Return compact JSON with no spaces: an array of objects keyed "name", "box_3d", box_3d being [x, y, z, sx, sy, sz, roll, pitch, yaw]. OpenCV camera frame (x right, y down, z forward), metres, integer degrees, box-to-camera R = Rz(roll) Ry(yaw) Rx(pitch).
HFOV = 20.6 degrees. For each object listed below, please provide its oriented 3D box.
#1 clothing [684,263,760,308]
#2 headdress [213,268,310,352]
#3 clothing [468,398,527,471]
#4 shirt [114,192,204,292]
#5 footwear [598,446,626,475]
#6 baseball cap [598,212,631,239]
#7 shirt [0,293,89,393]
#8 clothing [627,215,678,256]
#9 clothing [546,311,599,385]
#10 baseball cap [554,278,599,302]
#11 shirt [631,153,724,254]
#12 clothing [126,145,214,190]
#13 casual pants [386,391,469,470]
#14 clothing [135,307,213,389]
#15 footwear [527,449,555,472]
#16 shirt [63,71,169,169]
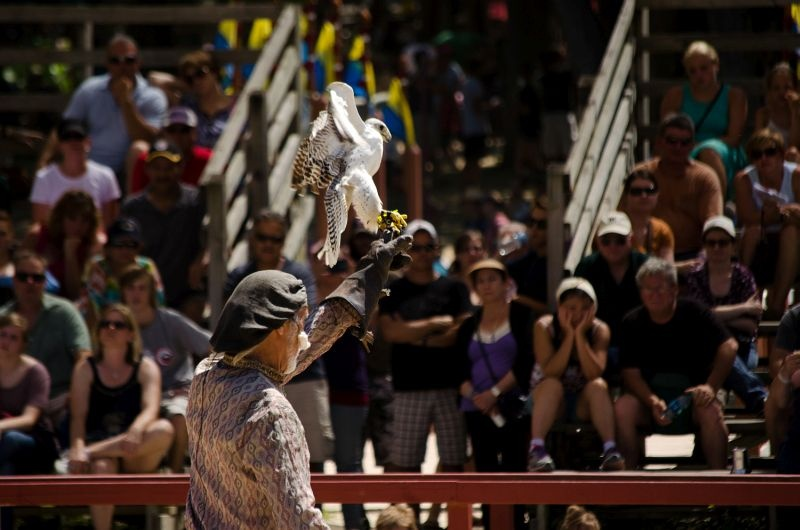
[{"name":"clothing","box_3d":[2.735,0.161,18.804,0.667,0.364,0.159,3,3,7]},{"name":"headdress","box_3d":[-1.051,0.345,16.610,0.677,0.479,0.525,-4,21,-30]},{"name":"clothing","box_3d":[0.861,1.497,18.892,0.520,0.371,0.406,4,-11,-29]},{"name":"shirt","box_3d":[-2.061,-0.286,20.172,0.764,1.080,0.590,-6,-2,-19]},{"name":"footwear","box_3d":[1.777,1.576,18.265,0.207,0.185,0.290,3,3,3]},{"name":"baseball cap","box_3d":[1.863,-0.340,18.956,0.282,0.216,0.179,4,3,20]},{"name":"shirt","box_3d":[-3.036,0.676,18.723,0.818,0.715,0.266,-1,-7,-5]},{"name":"clothing","box_3d":[2.153,-0.213,19.033,0.447,0.432,0.252,7,20,17]},{"name":"clothing","box_3d":[1.487,0.711,18.643,0.600,0.623,0.146,1,-6,8]},{"name":"baseball cap","box_3d":[1.527,0.209,18.806,0.349,0.202,0.283,3,3,3]},{"name":"shirt","box_3d":[2.391,-0.458,19.102,0.782,0.875,0.543,-5,27,2]},{"name":"clothing","box_3d":[-2.058,-0.849,20.386,0.422,0.469,0.539,-2,-21,31]},{"name":"casual pants","box_3d":[0.292,1.410,19.441,0.714,0.872,0.326,0,21,-4]},{"name":"clothing","box_3d":[-1.943,0.716,18.828,0.682,0.524,0.217,0,-13,-15]},{"name":"footwear","box_3d":[1.191,1.579,18.296,0.214,0.187,0.241,3,3,3]},{"name":"shirt","box_3d":[-2.599,-1.278,20.242,0.937,0.881,0.401,2,3,-7]}]
